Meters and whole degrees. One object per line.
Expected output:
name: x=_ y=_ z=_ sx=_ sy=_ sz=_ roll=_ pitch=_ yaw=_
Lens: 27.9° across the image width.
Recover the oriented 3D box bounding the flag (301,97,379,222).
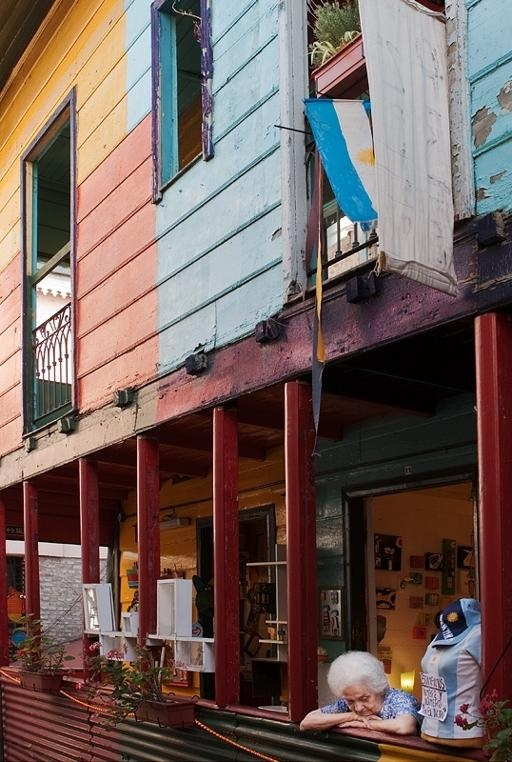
flag: x=0.422 y=-1.029 z=4.779 sx=0.328 sy=0.760 sz=0.395 roll=-1 pitch=-12 yaw=-6
